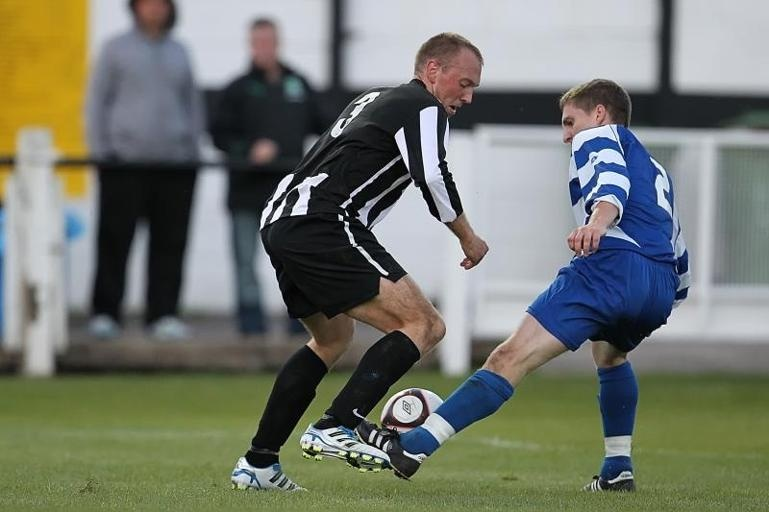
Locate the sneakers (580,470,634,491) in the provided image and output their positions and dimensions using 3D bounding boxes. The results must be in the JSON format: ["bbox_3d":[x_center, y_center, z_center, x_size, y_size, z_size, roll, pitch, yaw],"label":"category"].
[{"bbox_3d":[1.382,1.394,8.969,0.341,0.148,0.126,0,-6,13],"label":"sneakers"}]

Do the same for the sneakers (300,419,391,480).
[{"bbox_3d":[-0.233,1.188,8.800,0.626,0.242,0.305,14,42,6],"label":"sneakers"}]

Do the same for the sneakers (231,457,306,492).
[{"bbox_3d":[-0.760,1.376,8.975,0.523,0.244,0.181,6,-9,-7],"label":"sneakers"}]
